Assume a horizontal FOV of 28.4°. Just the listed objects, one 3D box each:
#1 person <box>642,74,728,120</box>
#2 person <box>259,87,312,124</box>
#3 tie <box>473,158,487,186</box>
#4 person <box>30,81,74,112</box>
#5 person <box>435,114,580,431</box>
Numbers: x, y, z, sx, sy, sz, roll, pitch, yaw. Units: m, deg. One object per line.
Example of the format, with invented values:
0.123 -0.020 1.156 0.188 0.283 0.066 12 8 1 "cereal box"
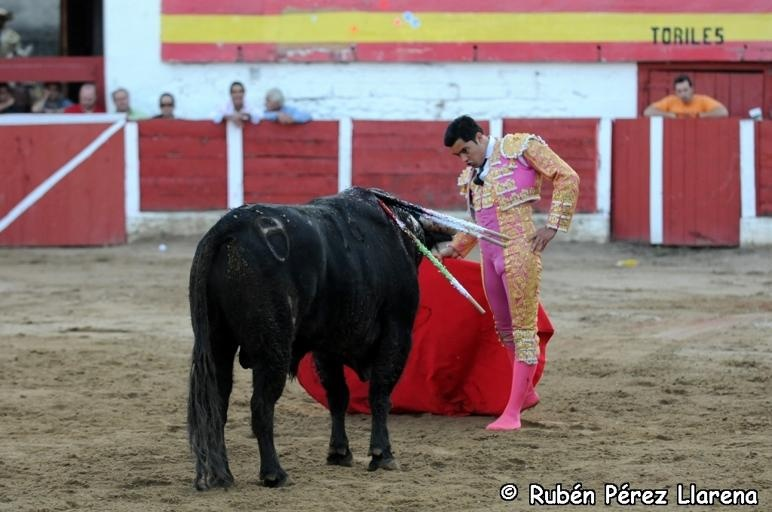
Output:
3.309 -1.664 16.751 0.879 0.515 0.470 3 8 12 "person"
-1.097 -1.665 16.951 0.517 0.309 0.745 31 22 36 "person"
0.753 -0.639 11.990 0.089 0.184 0.138 28 4 2 "tie"
-3.713 -1.741 16.939 0.327 0.244 0.742 -2 27 -4 "person"
1.064 0.112 11.935 0.944 2.444 0.525 -6 9 5 "person"
